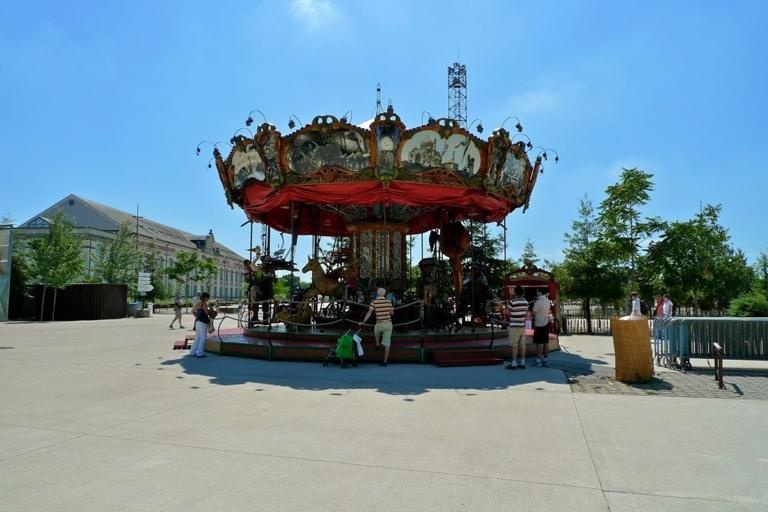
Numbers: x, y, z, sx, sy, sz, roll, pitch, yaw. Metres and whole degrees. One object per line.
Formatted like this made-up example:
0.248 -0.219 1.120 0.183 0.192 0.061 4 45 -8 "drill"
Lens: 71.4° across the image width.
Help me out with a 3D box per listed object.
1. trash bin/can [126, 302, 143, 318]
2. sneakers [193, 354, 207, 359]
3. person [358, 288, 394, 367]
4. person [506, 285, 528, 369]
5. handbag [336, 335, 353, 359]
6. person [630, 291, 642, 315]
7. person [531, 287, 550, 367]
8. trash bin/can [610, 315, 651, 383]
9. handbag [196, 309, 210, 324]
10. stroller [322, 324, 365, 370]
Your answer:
-17.564 3.773 37.869 0.955 0.759 0.970 1 -4 -4 "trash bin/can"
-4.963 2.694 14.534 0.364 0.164 0.116 -1 -1 -16 "sneakers"
-0.147 1.787 14.070 0.722 2.006 1.468 0 3 -2 "person"
3.352 1.790 13.505 0.495 2.023 0.674 1 3 13 "person"
-0.963 2.313 13.569 0.549 0.731 0.389 1 -11 -6 "handbag"
7.765 1.480 16.440 0.244 0.750 0.823 1 3 25 "person"
4.122 1.817 13.967 0.407 2.014 1.158 1 3 16 "person"
5.652 2.076 12.166 0.805 1.341 0.805 -6 0 1 "trash bin/can"
-4.946 1.630 14.710 0.335 0.413 0.216 -1 3 -21 "handbag"
-0.850 2.217 13.932 0.584 0.883 0.871 15 -12 -37 "stroller"
